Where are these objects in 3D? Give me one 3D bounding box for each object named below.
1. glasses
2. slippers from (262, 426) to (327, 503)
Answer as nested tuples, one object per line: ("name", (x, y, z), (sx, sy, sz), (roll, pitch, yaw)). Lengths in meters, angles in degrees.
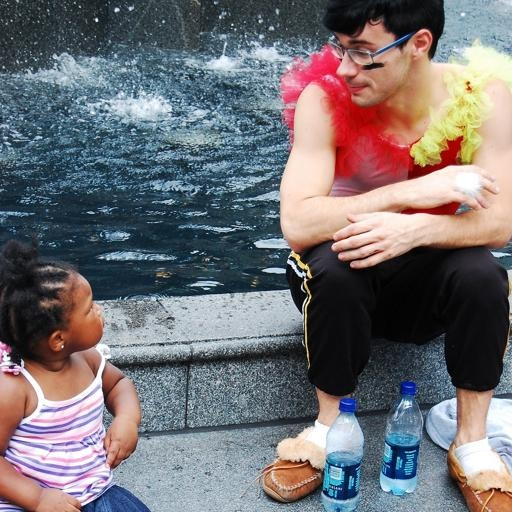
("glasses", (0.310, -0.492, 1.350), (0.144, 0.034, 0.129), (-10, 9, 32))
("slippers", (0.097, 0.511, 1.437), (0.152, 0.180, 0.210), (3, 25, 8))
